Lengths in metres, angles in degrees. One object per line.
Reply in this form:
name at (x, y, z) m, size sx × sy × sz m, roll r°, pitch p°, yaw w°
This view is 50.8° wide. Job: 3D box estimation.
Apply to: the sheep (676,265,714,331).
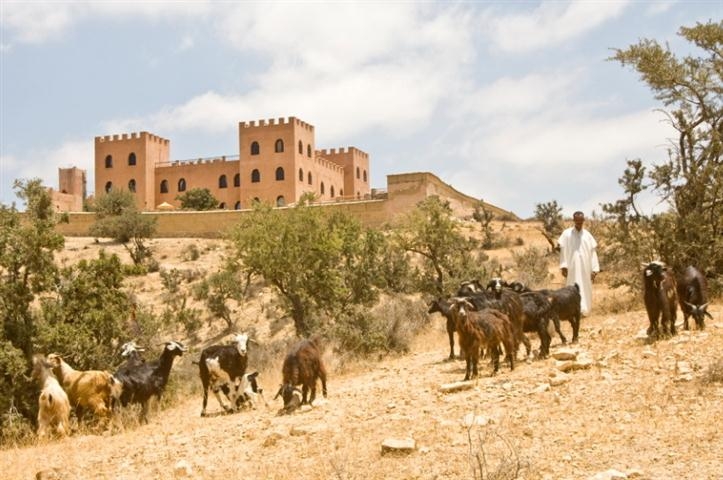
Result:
sheep at (8.082, 1.416, 18.580) m, size 0.690 × 1.391 × 1.108 m, roll -7°, pitch 5°, yaw 23°
